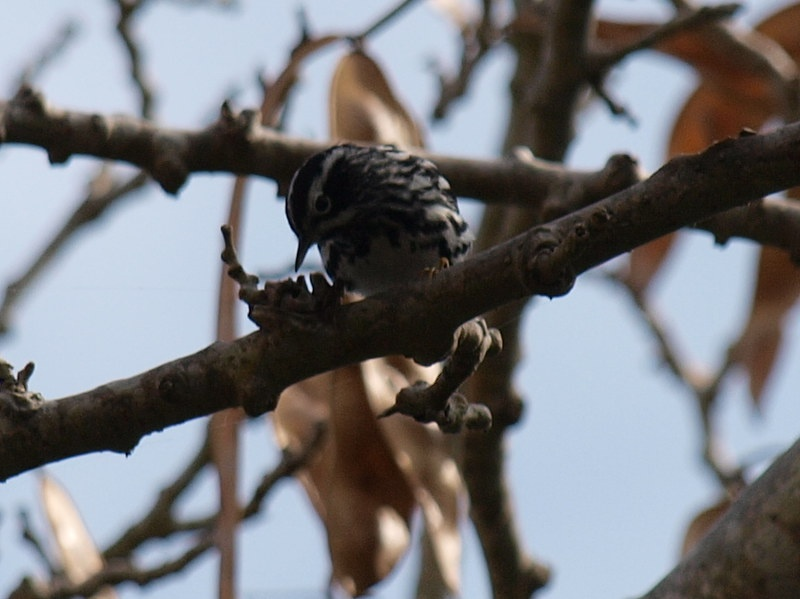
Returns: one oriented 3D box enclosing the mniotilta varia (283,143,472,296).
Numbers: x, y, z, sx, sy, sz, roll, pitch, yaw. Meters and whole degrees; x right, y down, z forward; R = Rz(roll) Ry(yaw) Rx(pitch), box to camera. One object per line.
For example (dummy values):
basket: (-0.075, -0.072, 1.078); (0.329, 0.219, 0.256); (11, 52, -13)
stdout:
mniotilta varia: (-0.059, -0.145, 4.246); (0.328, 0.262, 0.273); (-7, -31, -13)
